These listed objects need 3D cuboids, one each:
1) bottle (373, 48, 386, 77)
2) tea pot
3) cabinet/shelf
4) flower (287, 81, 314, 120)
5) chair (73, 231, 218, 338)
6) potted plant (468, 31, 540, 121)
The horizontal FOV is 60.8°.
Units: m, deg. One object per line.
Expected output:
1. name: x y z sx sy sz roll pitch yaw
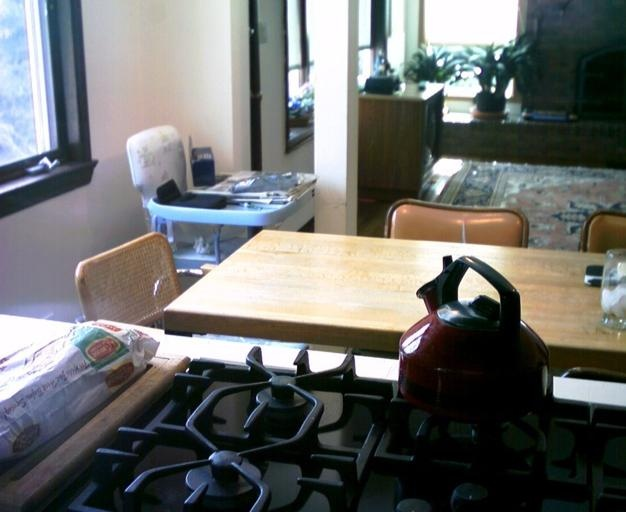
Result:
1. bottle: 0.347 -1.009 2.801 0.054 0.127 0.098 -2 20 -3
2. tea pot: 0.196 0.087 0.663 0.184 0.189 0.166 -12 19 -33
3. cabinet/shelf: 0.532 -0.633 3.180 0.431 0.815 0.837 1 8 12
4. flower: -0.105 -1.321 4.588 0.087 0.312 0.589 4 21 14
5. chair: -0.504 0.079 1.635 0.230 0.368 0.271 19 34 29
6. potted plant: 0.891 -0.875 2.619 0.352 0.386 0.293 4 28 17
